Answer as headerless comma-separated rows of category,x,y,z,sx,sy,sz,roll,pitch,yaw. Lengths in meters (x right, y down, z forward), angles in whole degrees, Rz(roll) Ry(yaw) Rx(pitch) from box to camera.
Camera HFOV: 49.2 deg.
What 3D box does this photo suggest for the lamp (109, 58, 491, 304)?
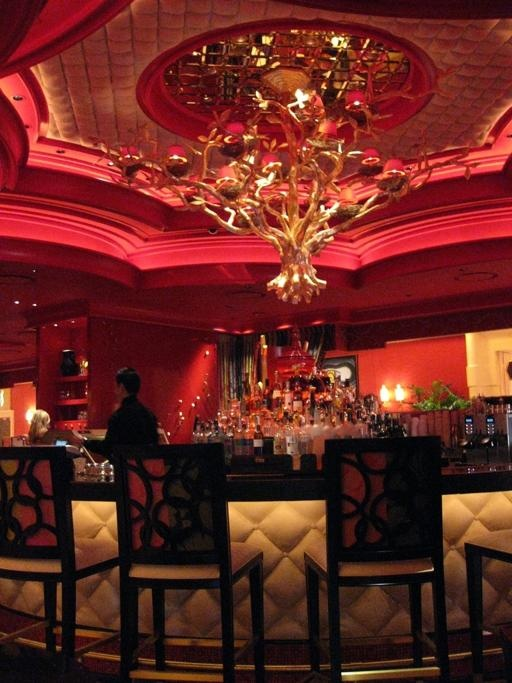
lamp,0.200,-1.220,3.769,1.867,1.134,1.816,-2,-16,12
